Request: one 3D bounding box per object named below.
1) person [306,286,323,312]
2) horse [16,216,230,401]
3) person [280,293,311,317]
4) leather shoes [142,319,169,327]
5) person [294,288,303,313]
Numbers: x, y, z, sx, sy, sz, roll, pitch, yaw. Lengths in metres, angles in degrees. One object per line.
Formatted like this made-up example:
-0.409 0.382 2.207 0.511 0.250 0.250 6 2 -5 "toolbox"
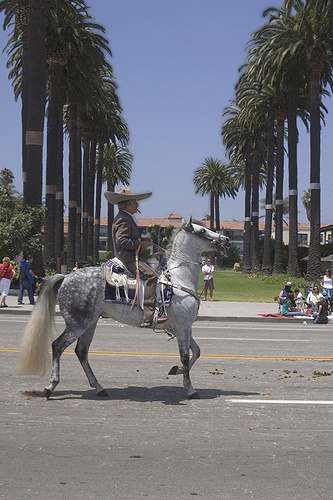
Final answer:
4.262 1.463 26.765 0.390 0.919 0.499 3 -41 10 "person"
-0.633 0.722 12.120 2.558 2.284 0.899 1 2 -11 "horse"
3.676 1.646 26.252 0.937 0.715 0.401 1 2 4 "person"
-0.164 0.960 12.034 0.355 0.133 0.258 2 3 -2 "leather shoes"
3.940 1.498 27.620 0.334 0.460 0.771 0 16 5 "person"
